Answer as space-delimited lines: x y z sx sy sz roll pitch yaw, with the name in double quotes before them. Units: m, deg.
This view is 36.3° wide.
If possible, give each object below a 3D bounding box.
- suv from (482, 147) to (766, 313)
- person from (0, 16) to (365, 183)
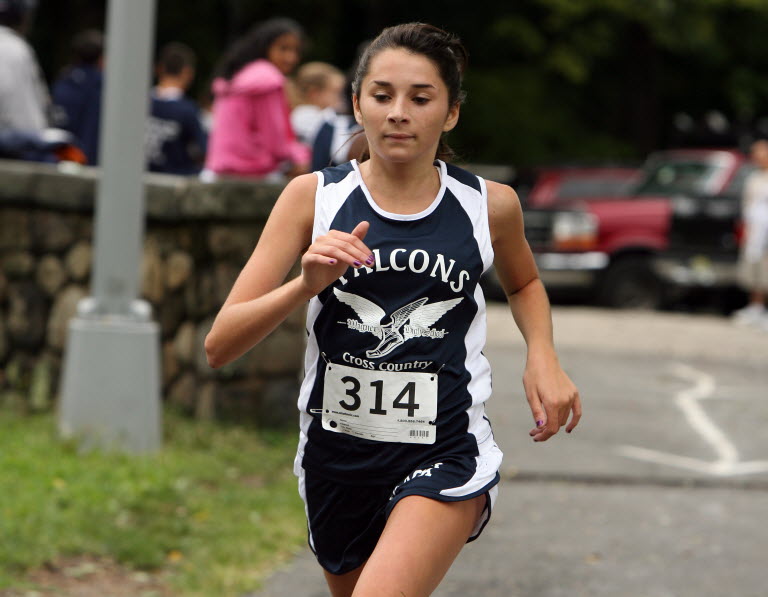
"suv" 2.740 -0.701 11.939 2.295 1.211 1.315 0 1 -2
"person" -0.853 -1.007 6.423 1.081 0.683 1.619 -2 6 7
